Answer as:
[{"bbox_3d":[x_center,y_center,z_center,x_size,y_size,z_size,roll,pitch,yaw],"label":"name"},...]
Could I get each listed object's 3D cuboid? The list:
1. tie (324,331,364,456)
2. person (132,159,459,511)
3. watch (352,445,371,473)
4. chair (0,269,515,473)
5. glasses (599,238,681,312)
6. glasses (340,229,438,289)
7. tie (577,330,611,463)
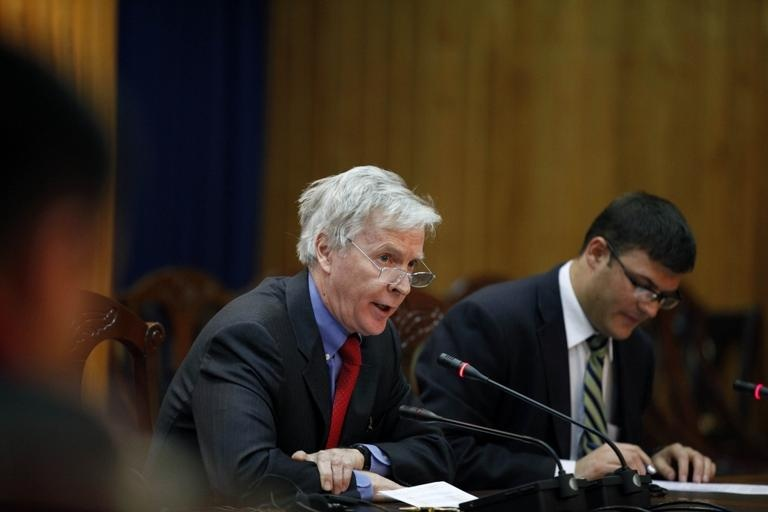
[{"bbox_3d":[-0.120,0.390,2.502,0.069,0.356,0.051,11,-13,-9],"label":"tie"},{"bbox_3d":[-0.140,0.365,2.812,0.789,1.272,0.821,-2,-20,33],"label":"person"},{"bbox_3d":[-0.063,0.548,2.338,0.041,0.069,0.032,4,-4,-5],"label":"watch"},{"bbox_3d":[-0.241,0.374,2.428,0.686,0.539,0.549,7,-7,41],"label":"chair"},{"bbox_3d":[0.821,0.082,2.762,0.057,0.207,0.193,-32,-28,21],"label":"glasses"},{"bbox_3d":[0.052,0.005,2.506,0.167,0.051,0.160,50,22,25],"label":"glasses"},{"bbox_3d":[0.692,0.444,2.841,0.094,0.685,0.067,4,-8,0],"label":"tie"}]
